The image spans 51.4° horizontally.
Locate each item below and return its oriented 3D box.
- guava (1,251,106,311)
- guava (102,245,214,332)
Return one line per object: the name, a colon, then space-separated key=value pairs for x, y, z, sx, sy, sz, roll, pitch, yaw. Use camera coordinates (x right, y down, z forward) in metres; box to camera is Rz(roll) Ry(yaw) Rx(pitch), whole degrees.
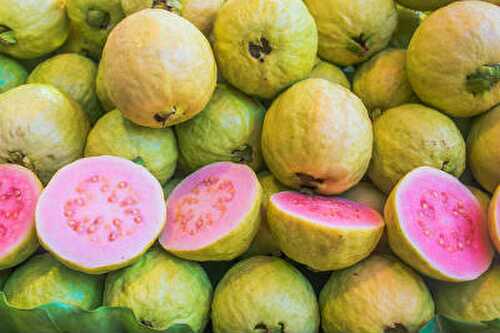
guava: x=-0.686 y=0.415 z=1.823 sx=0.245 sy=0.154 sz=0.207 roll=6 pitch=21 yaw=-8
guava: x=-0.320 y=0.443 z=1.813 sx=0.307 sy=0.321 sz=0.302 roll=1 pitch=-25 yaw=-7
